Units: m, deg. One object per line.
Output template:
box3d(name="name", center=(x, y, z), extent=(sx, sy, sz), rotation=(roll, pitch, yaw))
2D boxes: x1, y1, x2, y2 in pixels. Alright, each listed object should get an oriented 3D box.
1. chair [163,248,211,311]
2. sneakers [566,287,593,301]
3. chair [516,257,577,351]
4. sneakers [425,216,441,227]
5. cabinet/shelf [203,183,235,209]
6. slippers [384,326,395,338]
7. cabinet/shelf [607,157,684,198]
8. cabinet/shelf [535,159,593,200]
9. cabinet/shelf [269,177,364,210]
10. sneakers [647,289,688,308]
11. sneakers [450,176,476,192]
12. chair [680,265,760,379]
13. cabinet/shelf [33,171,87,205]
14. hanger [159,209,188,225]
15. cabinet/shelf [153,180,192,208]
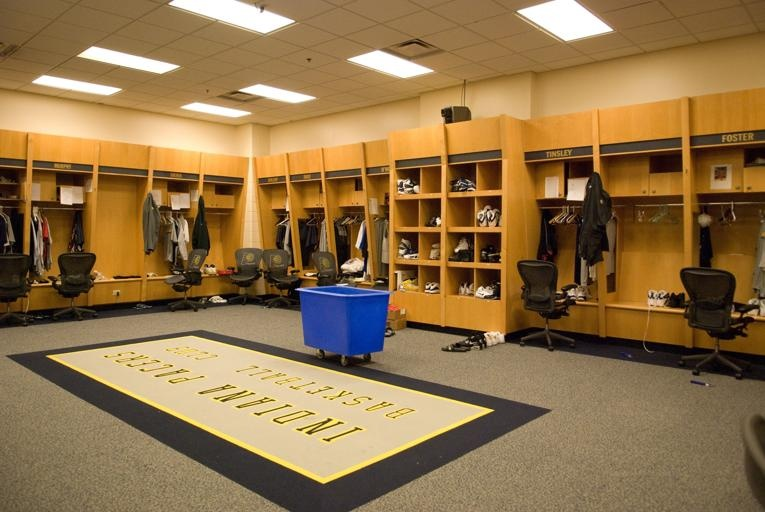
box3d(name="chair", center=(-4.263, 0.485, 11.141), extent=(0.818, 1.241, 1.164), rotation=(-2, 9, -18))
box3d(name="sneakers", center=(3.123, 0.581, 8.266), extent=(0.303, 0.136, 0.446), rotation=(3, 4, 41))
box3d(name="chair", center=(2.625, 0.730, 7.997), extent=(0.833, 1.394, 0.743), rotation=(-5, 11, -35))
box3d(name="sneakers", center=(0.939, -0.642, 9.192), extent=(0.197, 0.230, 0.239), rotation=(5, 40, 23))
box3d(name="cabinet/shelf", center=(-4.128, -1.509, 12.676), extent=(0.893, 0.600, 0.651), rotation=(-5, 10, -37))
box3d(name="slippers", center=(0.130, 1.309, 8.739), extent=(0.138, 0.085, 0.180), rotation=(-1, 2, -28))
box3d(name="cabinet/shelf", center=(4.106, -1.234, 7.870), extent=(0.841, 0.411, 0.318), rotation=(1, 0, 39))
box3d(name="cabinet/shelf", center=(3.021, -1.293, 8.438), extent=(0.890, 0.636, 0.281), rotation=(-1, -2, 30))
box3d(name="cabinet/shelf", center=(-1.598, -1.458, 11.844), extent=(0.722, 0.742, 2.807), rotation=(-7, 11, -42))
box3d(name="sneakers", center=(4.327, 0.650, 7.796), extent=(0.230, 0.243, 0.649), rotation=(0, 4, -29))
box3d(name="sneakers", center=(1.461, -1.250, 8.845), extent=(0.529, 0.194, 0.216), rotation=(-1, 5, -35))
box3d(name="chair", center=(4.383, 0.841, 6.681), extent=(0.877, 1.416, 0.707), rotation=(-2, 9, -16))
box3d(name="cabinet/shelf", center=(-6.633, -1.447, 10.501), extent=(1.074, 0.678, 0.607), rotation=(-6, 11, -41))
box3d(name="hanger", center=(-4.878, -0.965, 11.939), extent=(0.587, 0.336, 0.536), rotation=(-2, 8, -20))
box3d(name="cabinet/shelf", center=(-4.897, -1.465, 11.869), extent=(0.870, 0.549, 0.302), rotation=(1, -1, -42))
